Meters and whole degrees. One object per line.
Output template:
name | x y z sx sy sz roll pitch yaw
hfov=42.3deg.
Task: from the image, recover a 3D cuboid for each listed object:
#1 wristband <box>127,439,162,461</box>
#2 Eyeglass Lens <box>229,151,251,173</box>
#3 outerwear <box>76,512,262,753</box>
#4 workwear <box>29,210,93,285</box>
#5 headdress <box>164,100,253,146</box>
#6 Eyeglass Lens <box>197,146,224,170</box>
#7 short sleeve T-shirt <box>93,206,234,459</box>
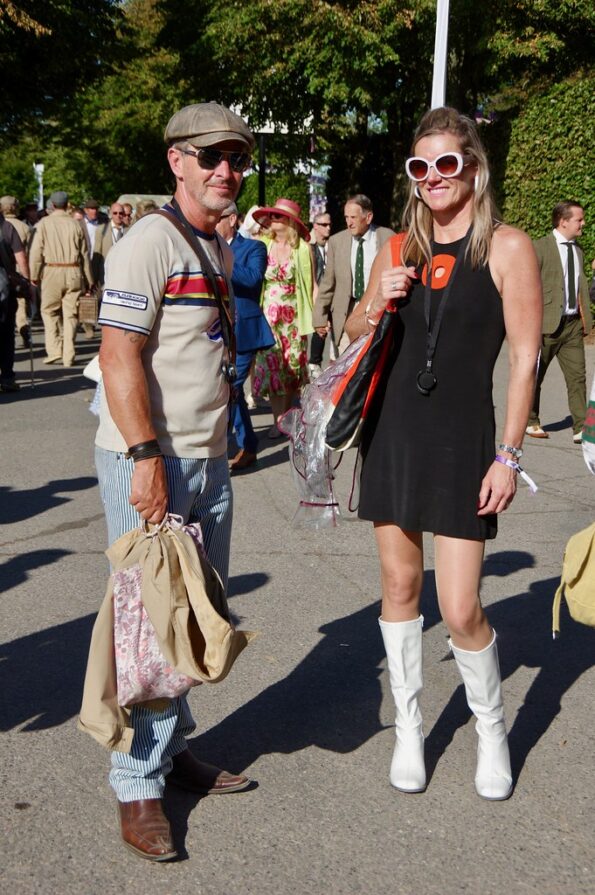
wristband | -0.360 0.006 1.808 0.053 0.040 0.061 -2 5 -22
Eyeglass Lens | -0.147 -0.731 1.971 0.055 0.053 0.023 9 -19 -43
outerwear | -0.295 0.462 1.852 0.383 0.579 0.257 4 7 18
workwear | -3.767 -3.161 12.173 0.946 1.145 0.518 0 7 -15
headdress | -0.238 -0.823 1.969 0.190 0.080 0.151 23 30 30
Eyeglass Lens | -0.220 -0.720 1.921 0.056 0.024 0.055 5 26 -11
short sleeve T-shirt | -0.316 -0.266 1.963 0.160 0.618 0.450 6 8 35
